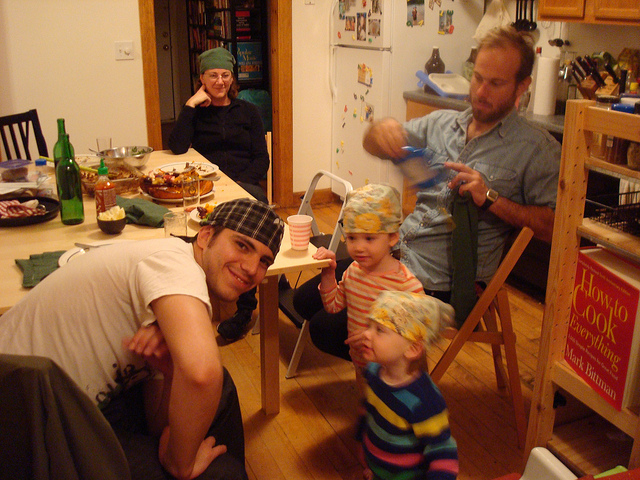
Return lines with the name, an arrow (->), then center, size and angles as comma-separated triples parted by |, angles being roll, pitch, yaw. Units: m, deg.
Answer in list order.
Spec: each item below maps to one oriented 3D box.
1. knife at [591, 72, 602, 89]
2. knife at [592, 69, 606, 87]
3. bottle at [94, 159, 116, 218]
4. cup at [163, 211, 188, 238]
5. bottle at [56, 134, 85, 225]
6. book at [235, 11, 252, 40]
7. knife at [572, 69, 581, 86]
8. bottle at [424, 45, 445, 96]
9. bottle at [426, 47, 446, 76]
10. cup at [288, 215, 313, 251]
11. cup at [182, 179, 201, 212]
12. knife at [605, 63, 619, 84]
knife -> 1.741, -1.012, 3.213 | 0.016, 0.126, 0.027 | -14, -22, -30
knife -> 1.746, -1.024, 3.202 | 0.016, 0.138, 0.034 | 6, -36, -32
bottle -> -1.036, -0.259, 2.430 | 0.096, 0.213, 0.363 | -12, 21, -22
cup -> -0.631, -0.073, 2.276 | 0.100, 0.128, 0.107 | 1, 5, 0
bottle -> -1.203, -0.288, 2.407 | 0.131, 0.408, 0.151 | -10, 19, -17
book -> -0.819, -2.303, 5.448 | 0.244, 0.252, 0.060 | -10, 14, -39
knife -> 1.757, -1.122, 3.499 | 0.042, 0.178, 0.019 | 11, -27, -40
bottle -> 0.949, -1.418, 4.235 | 0.167, 0.374, 0.395 | 0, 20, 13
bottle -> 0.971, -1.518, 4.302 | 0.143, 0.299, 0.165 | -9, 27, -11
cup -> -0.085, -0.038, 2.299 | 0.122, 0.139, 0.133 | 0, 15, 0
cup -> -0.679, -0.236, 2.674 | 0.097, 0.175, 0.097 | 2, 11, 0
knife -> 1.798, -1.029, 3.139 | 0.163, 0.117, 0.063 | -20, 24, -36
